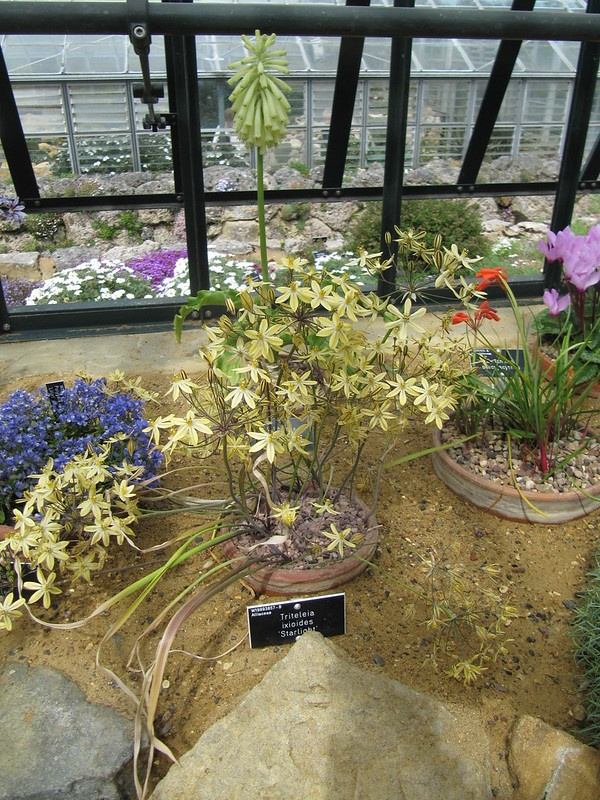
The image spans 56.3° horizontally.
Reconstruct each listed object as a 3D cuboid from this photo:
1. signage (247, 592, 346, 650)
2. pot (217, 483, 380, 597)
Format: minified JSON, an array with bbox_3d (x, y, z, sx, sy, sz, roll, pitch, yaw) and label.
[{"bbox_3d":[-0.007,0.486,1.244,0.217,0.127,0.027,-6,33,-7],"label":"signage"},{"bbox_3d":[0.016,0.329,1.376,0.320,0.182,0.233,-7,27,-12],"label":"pot"}]
